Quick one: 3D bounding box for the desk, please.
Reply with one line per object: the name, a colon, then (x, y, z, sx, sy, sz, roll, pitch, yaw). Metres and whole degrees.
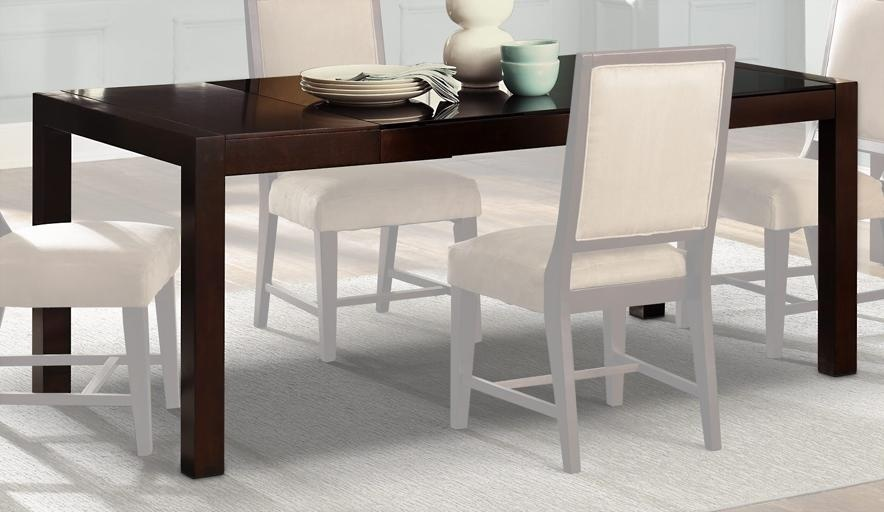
desk: (0.006, -0.116, 2.844, 3.091, 1.211, 1.296, -7, 20, -18)

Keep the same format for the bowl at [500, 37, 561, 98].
bowl: (0.315, -0.677, 2.667, 0.246, 0.164, 0.196, -7, 15, -15)
